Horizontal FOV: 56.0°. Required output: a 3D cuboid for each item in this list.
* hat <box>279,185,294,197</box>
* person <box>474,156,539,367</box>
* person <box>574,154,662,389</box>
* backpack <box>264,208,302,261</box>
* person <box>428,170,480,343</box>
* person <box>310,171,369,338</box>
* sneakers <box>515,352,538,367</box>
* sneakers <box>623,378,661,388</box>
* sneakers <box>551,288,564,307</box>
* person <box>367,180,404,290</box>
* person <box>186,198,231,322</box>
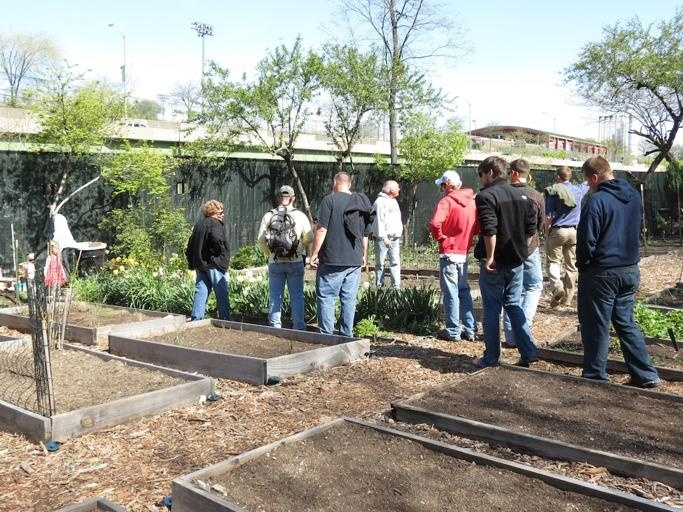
[{"bbox_3d":[-0.702,-0.856,8.384,0.175,0.112,0.274,1,15,1],"label":"hat"},{"bbox_3d":[1.849,0.039,7.161,0.713,2.346,0.610,0,4,7],"label":"person"},{"bbox_3d":[2.753,0.137,6.475,0.738,2.300,0.427,1,4,17],"label":"person"},{"bbox_3d":[-0.747,-0.306,8.247,0.406,0.627,0.357,0,-3,11],"label":"backpack"},{"bbox_3d":[1.498,-0.015,8.495,0.621,2.231,0.573,1,4,10],"label":"person"},{"bbox_3d":[0.005,-0.035,7.977,0.770,2.050,0.505,-1,4,-7],"label":"person"},{"bbox_3d":[2.020,1.128,7.075,0.116,0.145,0.311,-1,2,-32],"label":"sneakers"},{"bbox_3d":[3.044,1.255,6.394,0.355,0.085,0.189,0,4,3],"label":"sneakers"},{"bbox_3d":[3.399,0.613,10.079,0.140,0.163,0.384,7,-36,15],"label":"sneakers"},{"bbox_3d":[0.815,-0.424,11.391,0.520,1.870,1.029,0,4,3],"label":"person"},{"bbox_3d":[-1.895,0.164,9.210,0.582,1.455,0.364,-1,4,-16],"label":"person"}]
